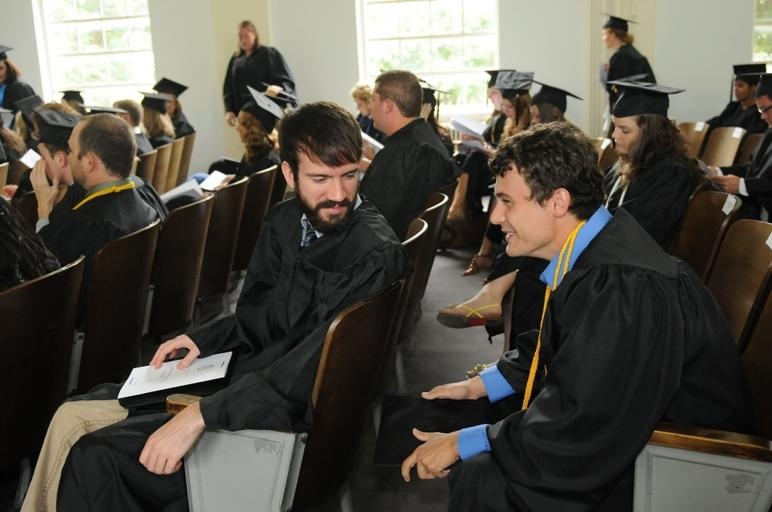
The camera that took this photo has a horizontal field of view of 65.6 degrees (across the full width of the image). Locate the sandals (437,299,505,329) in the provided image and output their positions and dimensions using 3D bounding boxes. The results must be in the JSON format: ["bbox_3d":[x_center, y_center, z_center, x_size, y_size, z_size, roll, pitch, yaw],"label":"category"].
[{"bbox_3d":[0.377,0.255,2.652,0.285,0.096,0.123,3,-7,-29],"label":"sandals"}]

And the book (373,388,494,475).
[{"bbox_3d":[0.167,0.593,2.063,0.322,0.100,0.246,-6,25,13],"label":"book"}]

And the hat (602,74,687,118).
[{"bbox_3d":[1.501,-0.942,3.578,0.481,0.308,0.473,1,19,10],"label":"hat"}]

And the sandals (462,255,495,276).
[{"bbox_3d":[0.728,0.072,4.742,0.299,0.130,0.113,-11,9,-28],"label":"sandals"}]

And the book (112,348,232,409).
[{"bbox_3d":[-0.753,0.431,2.106,0.228,0.056,0.229,-16,10,-2],"label":"book"}]
